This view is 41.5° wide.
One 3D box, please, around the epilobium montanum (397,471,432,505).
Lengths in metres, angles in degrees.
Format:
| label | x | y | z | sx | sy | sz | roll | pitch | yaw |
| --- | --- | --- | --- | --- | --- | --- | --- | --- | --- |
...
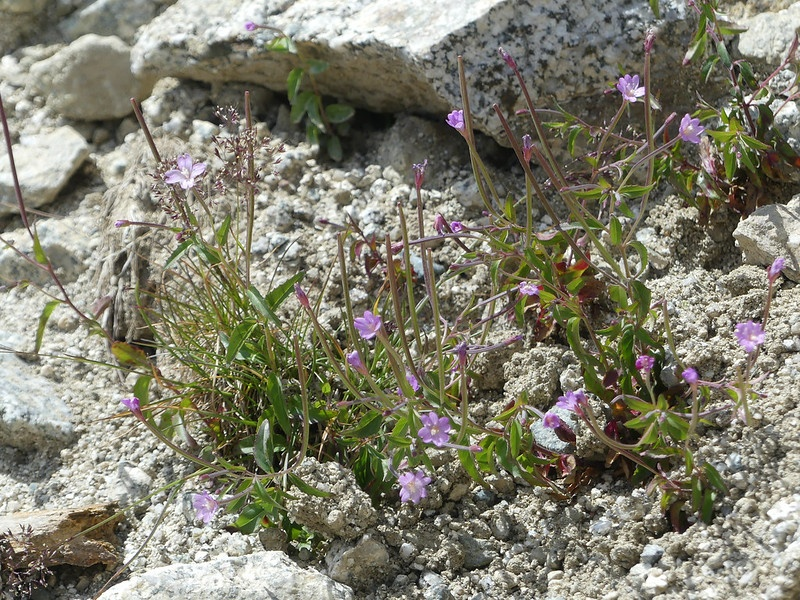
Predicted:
| label | x | y | z | sx | sy | sz | roll | pitch | yaw |
| --- | --- | --- | --- | --- | --- | --- | --- | --- | --- |
| epilobium montanum | 0.055 | 0.744 | 4.278 | 0.118 | 0.070 | 0.157 | -7 | 91 | 5 |
